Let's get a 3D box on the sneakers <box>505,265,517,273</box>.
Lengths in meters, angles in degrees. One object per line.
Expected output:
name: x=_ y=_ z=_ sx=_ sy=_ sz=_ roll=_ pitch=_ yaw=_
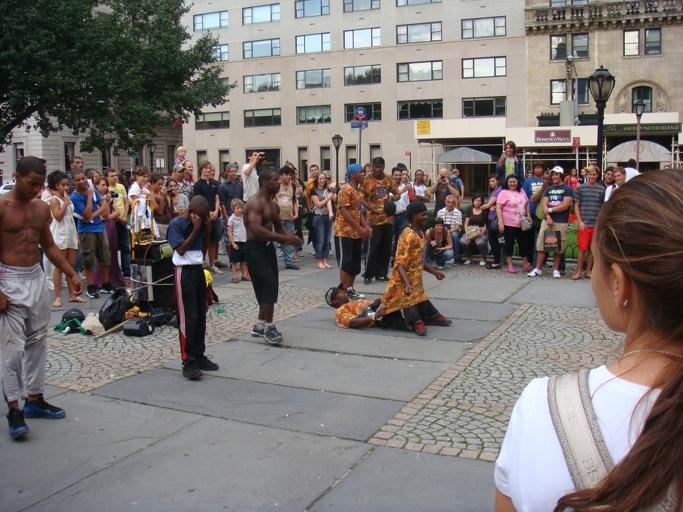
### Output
sneakers: x=3.402 y=0.264 z=13.936 sx=0.157 sy=0.116 sz=0.302 roll=-3 pitch=-1 yaw=6

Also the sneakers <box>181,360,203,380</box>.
sneakers: x=-1.534 y=1.184 z=7.130 sx=0.104 sy=0.142 sz=0.290 roll=-8 pitch=5 yaw=-43

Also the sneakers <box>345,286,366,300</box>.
sneakers: x=0.207 y=0.613 z=11.270 sx=0.378 sy=0.160 sz=0.128 roll=0 pitch=2 yaw=34

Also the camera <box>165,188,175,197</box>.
camera: x=-3.226 y=-1.202 z=13.144 sx=0.124 sy=0.116 sz=0.214 roll=0 pitch=3 yaw=8

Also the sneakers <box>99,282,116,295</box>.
sneakers: x=-3.966 y=0.547 z=11.733 sx=0.361 sy=0.248 sz=0.166 roll=-2 pitch=9 yaw=-13

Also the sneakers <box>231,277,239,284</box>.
sneakers: x=-1.984 y=0.454 z=12.960 sx=0.102 sy=0.082 sz=0.268 roll=-2 pitch=4 yaw=-12

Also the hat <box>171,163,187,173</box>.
hat: x=-3.342 y=-1.801 z=14.197 sx=0.206 sy=0.199 sz=0.171 roll=-13 pitch=1 yaw=18

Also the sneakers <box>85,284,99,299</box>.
sneakers: x=-4.173 y=0.596 z=11.679 sx=0.136 sy=0.158 sz=0.397 roll=-2 pitch=2 yaw=-36

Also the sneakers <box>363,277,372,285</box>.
sneakers: x=0.487 y=0.455 z=12.840 sx=0.125 sy=0.089 sz=0.124 roll=-2 pitch=-6 yaw=5

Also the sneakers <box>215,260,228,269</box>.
sneakers: x=-2.590 y=0.189 z=14.804 sx=0.334 sy=0.133 sz=0.115 roll=3 pitch=10 yaw=34

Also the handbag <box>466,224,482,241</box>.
handbag: x=2.822 y=-0.487 z=14.827 sx=0.388 sy=0.246 sz=0.446 roll=-18 pitch=4 yaw=-8

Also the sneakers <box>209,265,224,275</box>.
sneakers: x=-2.549 y=0.280 z=14.217 sx=0.310 sy=0.124 sz=0.111 roll=8 pitch=12 yaw=20

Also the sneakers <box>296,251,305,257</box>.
sneakers: x=-1.023 y=-0.051 z=17.083 sx=0.144 sy=0.187 sz=0.469 roll=-4 pitch=-2 yaw=-1

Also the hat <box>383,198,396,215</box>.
hat: x=0.878 y=-0.897 z=12.672 sx=0.304 sy=0.258 sz=0.469 roll=2 pitch=2 yaw=3

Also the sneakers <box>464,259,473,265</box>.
sneakers: x=2.743 y=0.123 z=15.056 sx=0.189 sy=0.075 sz=0.080 roll=-1 pitch=6 yaw=-42

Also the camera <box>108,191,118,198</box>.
camera: x=-4.100 y=-1.095 z=12.509 sx=0.148 sy=0.099 sz=0.163 roll=22 pitch=-11 yaw=-26

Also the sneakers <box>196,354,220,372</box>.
sneakers: x=-1.421 y=1.136 z=7.432 sx=0.280 sy=0.175 sz=0.105 roll=-1 pitch=9 yaw=-6

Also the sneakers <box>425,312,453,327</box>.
sneakers: x=1.332 y=0.870 z=9.443 sx=0.378 sy=0.162 sz=0.138 roll=0 pitch=7 yaw=14

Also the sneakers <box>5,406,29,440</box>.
sneakers: x=-2.657 y=1.355 z=5.645 sx=0.116 sy=0.156 sz=0.345 roll=-2 pitch=3 yaw=-43

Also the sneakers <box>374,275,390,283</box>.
sneakers: x=0.773 y=0.427 z=13.163 sx=0.264 sy=0.189 sz=0.102 roll=-3 pitch=12 yaw=-6

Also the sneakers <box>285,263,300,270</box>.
sneakers: x=-1.048 y=0.235 z=14.783 sx=0.331 sy=0.132 sz=0.122 roll=0 pitch=5 yaw=15

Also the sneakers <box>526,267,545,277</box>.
sneakers: x=3.739 y=0.322 z=13.464 sx=0.356 sy=0.142 sz=0.121 roll=-1 pitch=3 yaw=-16

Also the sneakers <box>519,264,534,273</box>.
sneakers: x=3.729 y=0.238 z=13.952 sx=0.103 sy=0.124 sz=0.289 roll=22 pitch=20 yaw=39

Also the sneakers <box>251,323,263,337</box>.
sneakers: x=-1.056 y=0.933 z=8.752 sx=0.080 sy=0.197 sz=0.264 roll=-8 pitch=10 yaw=-42

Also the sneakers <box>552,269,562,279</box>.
sneakers: x=4.117 y=0.338 z=13.253 sx=0.176 sy=0.184 sz=0.465 roll=-2 pitch=-1 yaw=7
